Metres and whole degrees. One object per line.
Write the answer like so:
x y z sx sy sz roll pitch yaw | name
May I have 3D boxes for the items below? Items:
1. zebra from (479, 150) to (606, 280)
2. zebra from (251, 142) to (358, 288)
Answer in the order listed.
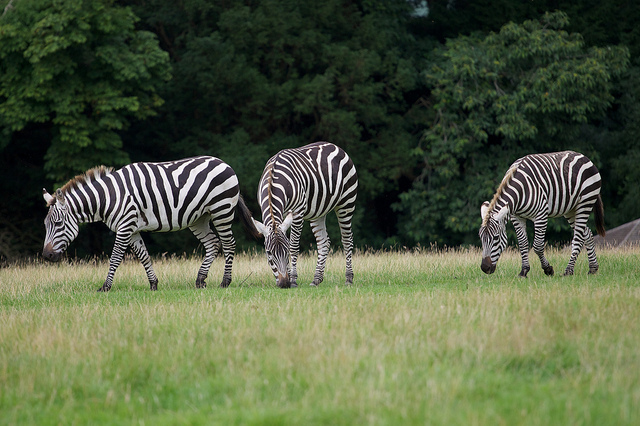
6.026 0.104 27.824 3.903 3.530 1.209 -4 3 -24 | zebra
-0.347 0.006 26.819 3.045 3.696 1.157 -1 -1 -41 | zebra
